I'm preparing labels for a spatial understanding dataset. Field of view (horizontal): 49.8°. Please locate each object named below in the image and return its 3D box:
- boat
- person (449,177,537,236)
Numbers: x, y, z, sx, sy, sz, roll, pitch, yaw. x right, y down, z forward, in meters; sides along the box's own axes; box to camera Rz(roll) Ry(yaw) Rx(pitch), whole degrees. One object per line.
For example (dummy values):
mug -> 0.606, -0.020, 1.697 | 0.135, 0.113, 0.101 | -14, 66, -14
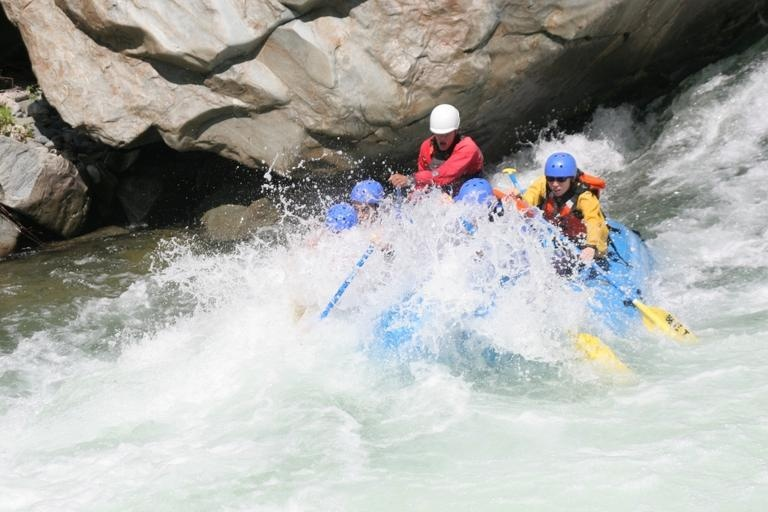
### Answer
boat -> 2.302, 0.135, 11.213 | 1.845, 1.845, 2.936 | 0, 85, -32
person -> 1.312, -0.698, 11.232 | 0.521, 0.451, 0.769 | -20, 29, 0
